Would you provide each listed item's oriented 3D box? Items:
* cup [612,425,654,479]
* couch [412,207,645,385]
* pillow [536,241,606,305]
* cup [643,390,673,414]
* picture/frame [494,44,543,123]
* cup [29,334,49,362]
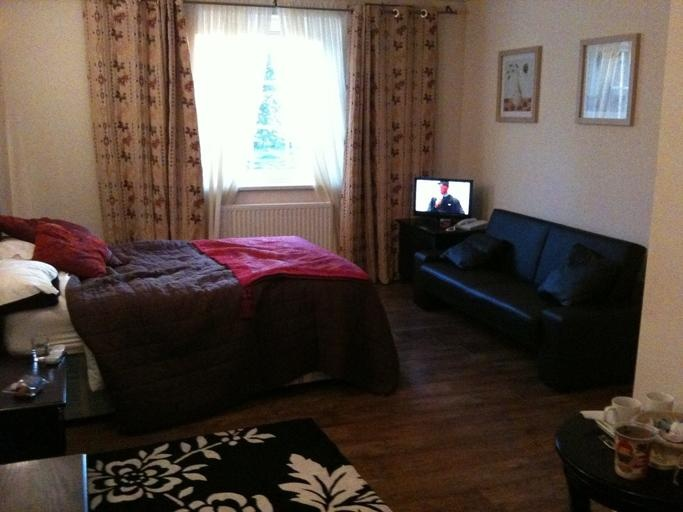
[{"bbox_3d":[1.060,0.705,1.993,0.125,0.156,0.159,10,20,30],"label":"cup"},{"bbox_3d":[1.428,0.327,4.083,0.541,0.582,1.169,-6,18,-16],"label":"couch"},{"bbox_3d":[1.648,0.144,3.838,0.338,0.353,0.363,-7,18,-19],"label":"pillow"},{"bbox_3d":[1.258,0.577,2.185,0.080,0.081,0.083,-1,2,0],"label":"cup"},{"bbox_3d":[1.628,-1.566,4.983,0.062,0.820,0.739,-7,13,-22],"label":"picture/frame"},{"bbox_3d":[-1.620,0.498,2.929,0.120,0.112,0.206,-3,8,-27],"label":"cup"}]
